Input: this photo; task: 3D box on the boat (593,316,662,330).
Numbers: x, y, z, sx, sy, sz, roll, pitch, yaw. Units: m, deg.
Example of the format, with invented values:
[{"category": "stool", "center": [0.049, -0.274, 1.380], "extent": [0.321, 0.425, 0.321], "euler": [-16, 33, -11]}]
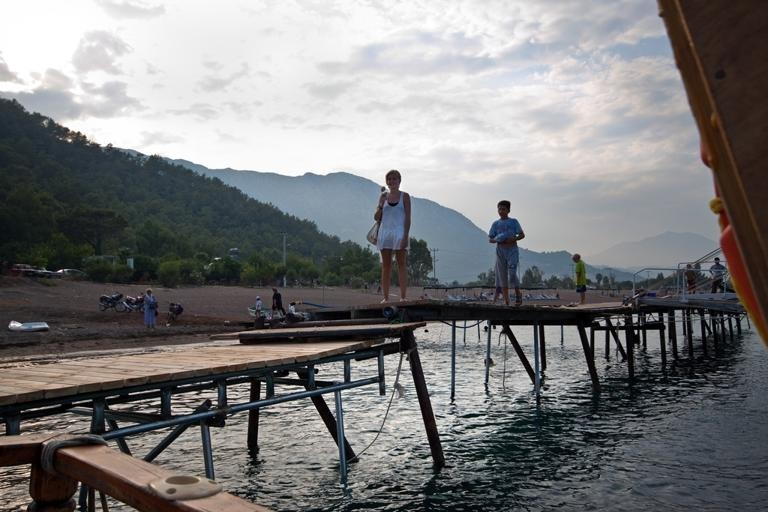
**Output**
[{"category": "boat", "center": [9.889, 2.700, 23.461], "extent": [1.752, 0.397, 1.199], "euler": [5, 6, 37]}]

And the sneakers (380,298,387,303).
[{"category": "sneakers", "center": [0.018, 0.964, 12.374], "extent": [0.136, 0.066, 0.188], "euler": [-2, 1, -33]}]
